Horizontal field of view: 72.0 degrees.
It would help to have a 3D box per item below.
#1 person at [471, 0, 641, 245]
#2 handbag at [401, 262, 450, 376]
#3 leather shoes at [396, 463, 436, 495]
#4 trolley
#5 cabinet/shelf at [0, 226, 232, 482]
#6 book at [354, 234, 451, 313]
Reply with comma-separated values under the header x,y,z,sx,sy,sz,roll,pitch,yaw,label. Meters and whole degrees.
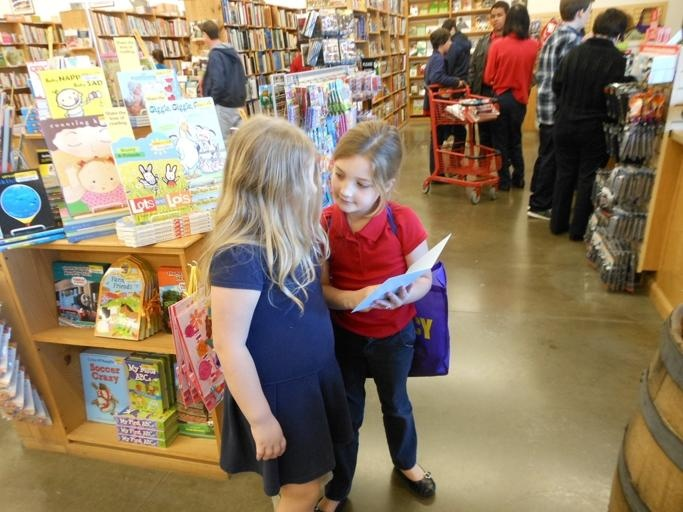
x,y,z,sx,sy,sz,roll,pitch,yaw,label
2.024,-1.016,3.922,0.390,1.850,0.699,-6,23,-11,person
0.319,0.249,1.807,0.155,0.434,0.351,2,16,9,handbag
0.337,1.005,2.086,0.093,0.050,0.163,-26,42,-33,leather shoes
1.396,-1.308,5.505,0.687,1.195,0.916,-13,21,-22,trolley
-0.997,0.433,2.095,1.030,1.027,0.348,2,11,3,cabinet/shelf
0.205,0.072,1.697,0.284,0.047,0.295,-41,1,40,book
